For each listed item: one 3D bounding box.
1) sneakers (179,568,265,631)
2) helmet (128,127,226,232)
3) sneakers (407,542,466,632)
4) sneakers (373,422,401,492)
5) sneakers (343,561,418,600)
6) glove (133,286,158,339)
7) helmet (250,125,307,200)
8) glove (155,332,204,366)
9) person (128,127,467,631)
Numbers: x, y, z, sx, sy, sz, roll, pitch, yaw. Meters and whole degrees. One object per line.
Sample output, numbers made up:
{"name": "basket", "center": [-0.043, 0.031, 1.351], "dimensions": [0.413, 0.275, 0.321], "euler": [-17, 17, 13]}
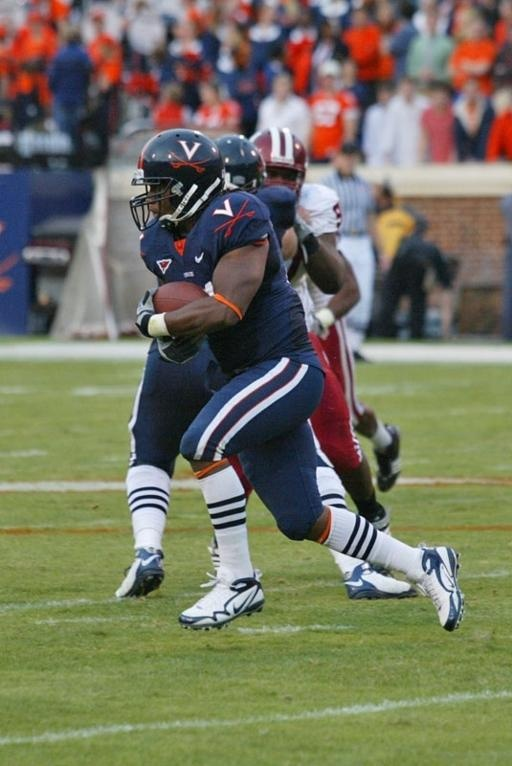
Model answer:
{"name": "sneakers", "center": [-0.077, 0.538, 2.693], "dimensions": [0.268, 0.103, 0.097], "euler": [-10, 8, -44]}
{"name": "helmet", "center": [-0.197, -0.520, 2.802], "dimensions": [0.336, 0.253, 0.224], "euler": [0, 1, -1]}
{"name": "sneakers", "center": [0.482, 0.522, 2.746], "dimensions": [0.132, 0.080, 0.226], "euler": [1, 42, -16]}
{"name": "sneakers", "center": [0.516, 0.317, 4.598], "dimensions": [0.118, 0.270, 0.148], "euler": [6, 8, 30]}
{"name": "sneakers", "center": [0.335, 0.571, 3.088], "dimensions": [0.246, 0.095, 0.073], "euler": [1, 5, -7]}
{"name": "glove", "center": [-0.262, -0.162, 2.549], "dimensions": [0.051, 0.097, 0.080], "euler": [10, 19, -7]}
{"name": "helmet", "center": [0.072, -0.726, 3.501], "dimensions": [0.203, 0.197, 0.228], "euler": [-1, 37, -9]}
{"name": "glove", "center": [-0.188, -0.089, 2.615], "dimensions": [0.092, 0.070, 0.060], "euler": [-20, 27, -4]}
{"name": "person", "center": [0.085, -0.018, 2.665], "dimensions": [0.811, 1.253, 0.468], "euler": [1, 6, -4]}
